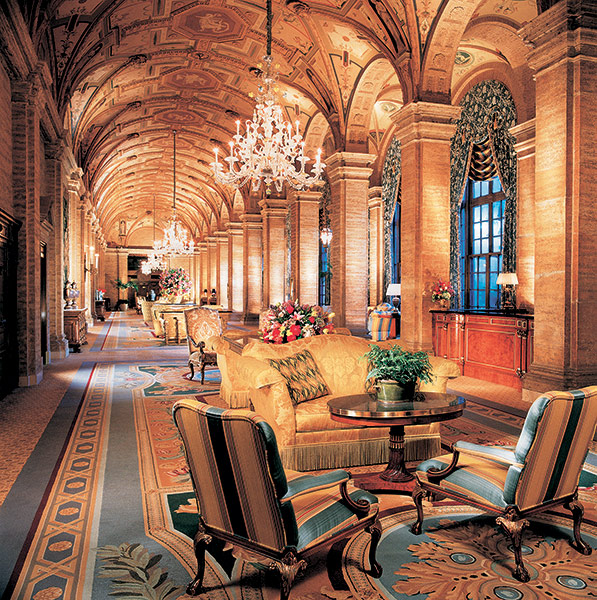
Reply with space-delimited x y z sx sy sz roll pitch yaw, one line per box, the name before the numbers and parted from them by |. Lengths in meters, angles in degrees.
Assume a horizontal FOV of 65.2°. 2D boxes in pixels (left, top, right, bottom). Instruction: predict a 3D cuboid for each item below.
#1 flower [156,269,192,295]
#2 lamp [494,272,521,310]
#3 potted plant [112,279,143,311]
flower | -4.269 -0.638 15.974 0.893 0.397 0.936 -8 47 -17
lamp | 4.599 -0.233 10.364 0.483 0.895 0.481 4 -5 -28
potted plant | -13.149 -0.419 35.701 2.344 2.580 1.940 1 -3 -31
